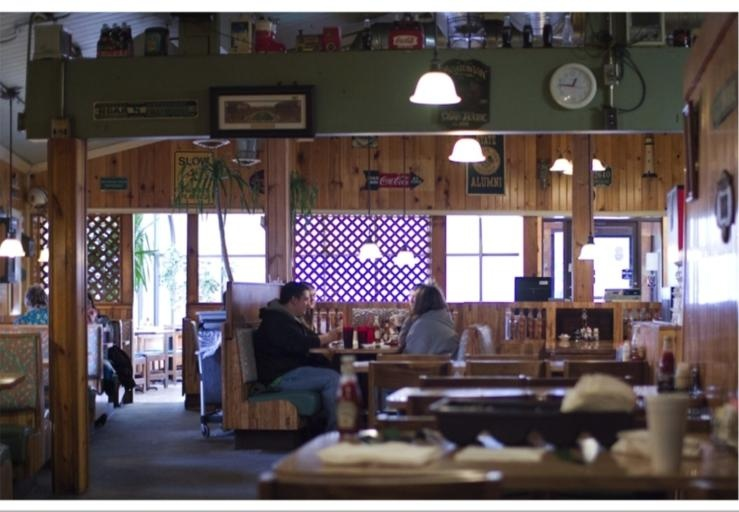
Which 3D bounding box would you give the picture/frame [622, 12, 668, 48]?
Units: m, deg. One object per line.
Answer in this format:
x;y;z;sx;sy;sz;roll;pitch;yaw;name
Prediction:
1.968;-1.642;6.327;0.275;0.271;0.157;6;36;26;picture/frame

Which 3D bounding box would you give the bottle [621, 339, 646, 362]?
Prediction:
1.739;0.639;5.925;0.153;0.171;0.148;-1;0;39;bottle

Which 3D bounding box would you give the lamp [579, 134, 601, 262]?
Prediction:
2.134;-0.578;8.596;0.194;1.193;0.213;5;-4;-23;lamp

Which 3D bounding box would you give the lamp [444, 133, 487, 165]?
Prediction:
0.790;-0.861;7.185;0.240;0.210;0.316;-1;-2;14;lamp

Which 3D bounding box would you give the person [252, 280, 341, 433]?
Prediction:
-0.570;0.902;7.389;0.799;1.361;0.571;-1;-5;4;person

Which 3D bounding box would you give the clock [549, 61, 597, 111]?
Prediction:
1.413;-1.186;6.254;0.337;0.349;0.039;0;1;-2;clock

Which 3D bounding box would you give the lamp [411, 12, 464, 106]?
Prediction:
0.445;-1.345;6.020;0.349;0.715;0.609;-1;-1;4;lamp
